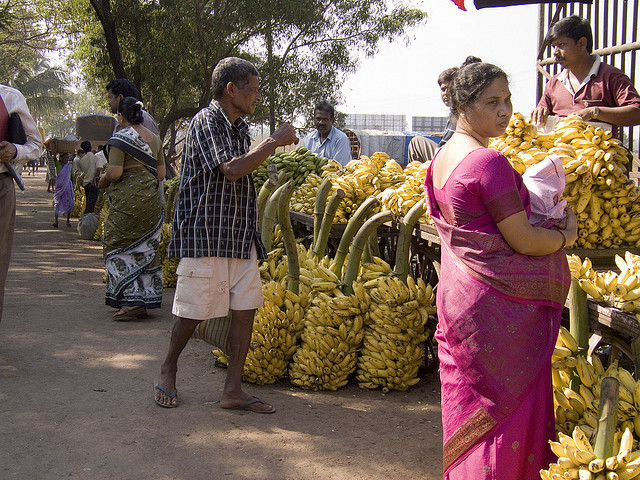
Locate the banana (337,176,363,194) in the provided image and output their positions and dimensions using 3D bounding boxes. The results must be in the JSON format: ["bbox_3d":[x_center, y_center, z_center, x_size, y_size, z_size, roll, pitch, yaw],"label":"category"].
[{"bbox_3d":[0.293,-0.546,5.352,0.231,0.185,0.122,13,-35,30],"label":"banana"}]

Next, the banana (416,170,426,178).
[{"bbox_3d":[0.819,-0.547,4.532,0.055,0.062,0.136,1,8,-5],"label":"banana"}]

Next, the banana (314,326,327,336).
[{"bbox_3d":[0.007,0.727,4.445,0.117,0.040,0.042,29,6,14],"label":"banana"}]

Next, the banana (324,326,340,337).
[{"bbox_3d":[0.110,0.746,4.417,0.085,0.071,0.028,23,-4,-20],"label":"banana"}]

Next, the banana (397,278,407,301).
[{"bbox_3d":[0.655,0.388,4.348,0.044,0.182,0.060,-4,-20,-44],"label":"banana"}]

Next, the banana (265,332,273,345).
[{"bbox_3d":[-0.410,0.788,4.401,0.043,0.063,0.036,-9,5,9],"label":"banana"}]

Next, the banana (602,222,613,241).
[{"bbox_3d":[1.769,-0.052,3.378,0.044,0.098,0.031,22,2,10],"label":"banana"}]

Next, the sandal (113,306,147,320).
[{"bbox_3d":[-2.091,0.822,6.064,0.353,0.167,0.124,0,-18,-23],"label":"sandal"}]

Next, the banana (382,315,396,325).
[{"bbox_3d":[0.547,0.640,4.388,0.099,0.050,0.033,43,15,8],"label":"banana"}]

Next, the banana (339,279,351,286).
[{"bbox_3d":[0.215,0.357,4.575,0.017,0.028,0.096,-4,26,-37],"label":"banana"}]

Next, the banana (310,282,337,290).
[{"bbox_3d":[0.038,0.384,4.579,0.241,0.075,0.078,3,-28,-10],"label":"banana"}]

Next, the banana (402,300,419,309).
[{"bbox_3d":[0.730,0.515,4.349,0.111,0.064,0.038,10,9,-26],"label":"banana"}]

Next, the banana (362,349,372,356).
[{"bbox_3d":[0.386,0.915,4.487,0.072,0.022,0.023,35,7,38],"label":"banana"}]

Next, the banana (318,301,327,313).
[{"bbox_3d":[0.022,0.549,4.483,0.039,0.074,0.019,-26,-6,41],"label":"banana"}]

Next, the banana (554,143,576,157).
[{"bbox_3d":[1.524,-0.564,3.428,0.173,0.069,0.050,8,-11,-16],"label":"banana"}]

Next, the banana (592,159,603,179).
[{"bbox_3d":[1.672,-0.434,3.316,0.038,0.146,0.048,-1,-40,42],"label":"banana"}]

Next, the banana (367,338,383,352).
[{"bbox_3d":[0.442,0.834,4.470,0.051,0.046,0.158,-4,32,-43],"label":"banana"}]

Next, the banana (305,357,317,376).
[{"bbox_3d":[-0.061,1.007,4.398,0.050,0.160,0.044,-19,-20,-24],"label":"banana"}]

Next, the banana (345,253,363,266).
[{"bbox_3d":[0.292,0.171,4.705,0.148,0.116,0.312,3,8,3],"label":"banana"}]

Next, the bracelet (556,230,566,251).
[{"bbox_3d":[1.137,-0.002,2.587,0.024,0.095,0.097,-5,38,28],"label":"bracelet"}]

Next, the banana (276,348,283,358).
[{"bbox_3d":[-0.325,0.913,4.449,0.042,0.064,0.024,-3,10,-14],"label":"banana"}]

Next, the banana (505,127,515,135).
[{"bbox_3d":[1.266,-0.729,3.674,0.042,0.044,0.084,0,8,-15],"label":"banana"}]

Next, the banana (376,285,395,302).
[{"bbox_3d":[0.519,0.432,4.400,0.192,0.051,0.064,48,15,21],"label":"banana"}]

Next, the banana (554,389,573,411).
[{"bbox_3d":[1.233,0.814,2.785,0.033,0.122,0.042,-42,-21,23],"label":"banana"}]

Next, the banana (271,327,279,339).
[{"bbox_3d":[-0.359,0.742,4.414,0.027,0.104,0.034,-11,12,-28],"label":"banana"}]

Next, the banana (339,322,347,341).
[{"bbox_3d":[0.200,0.741,4.436,0.056,0.131,0.041,-2,1,-2],"label":"banana"}]

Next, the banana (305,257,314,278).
[{"bbox_3d":[-0.087,0.217,4.867,0.039,0.128,0.033,-32,-15,21],"label":"banana"}]

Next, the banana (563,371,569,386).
[{"bbox_3d":[1.294,0.726,2.880,0.020,0.085,0.013,-13,-15,20],"label":"banana"}]

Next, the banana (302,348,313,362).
[{"bbox_3d":[-0.103,0.921,4.439,0.038,0.138,0.042,-45,-18,18],"label":"banana"}]

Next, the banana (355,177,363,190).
[{"bbox_3d":[0.380,-0.546,5.276,0.049,0.108,0.035,-22,-3,14],"label":"banana"}]

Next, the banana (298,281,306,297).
[{"bbox_3d":[-0.146,0.410,4.625,0.028,0.117,0.040,-7,-22,12],"label":"banana"}]

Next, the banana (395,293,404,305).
[{"bbox_3d":[0.636,0.467,4.354,0.071,0.098,0.036,1,8,-6],"label":"banana"}]

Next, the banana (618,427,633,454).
[{"bbox_3d":[1.370,0.897,2.468,0.037,0.052,0.151,-1,38,20],"label":"banana"}]

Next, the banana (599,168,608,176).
[{"bbox_3d":[1.719,-0.411,3.320,0.033,0.039,0.047,0,3,3],"label":"banana"}]

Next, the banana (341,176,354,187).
[{"bbox_3d":[0.280,-0.569,5.372,0.098,0.028,0.060,39,31,22],"label":"banana"}]

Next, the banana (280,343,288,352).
[{"bbox_3d":[-0.287,0.873,4.467,0.038,0.073,0.066,-1,17,-2],"label":"banana"}]

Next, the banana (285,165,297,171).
[{"bbox_3d":[-0.344,-0.873,6.647,0.150,0.066,0.058,4,8,10],"label":"banana"}]

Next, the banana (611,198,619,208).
[{"bbox_3d":[1.810,-0.229,3.384,0.023,0.046,0.045,-22,-27,10],"label":"banana"}]

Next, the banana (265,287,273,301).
[{"bbox_3d":[-0.414,0.441,4.490,0.029,0.111,0.040,-29,-30,-9],"label":"banana"}]

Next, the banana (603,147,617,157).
[{"bbox_3d":[1.784,-0.537,3.373,0.072,0.039,0.025,24,-14,-13],"label":"banana"}]

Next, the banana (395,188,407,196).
[{"bbox_3d":[0.657,-0.389,4.474,0.018,0.058,0.049,-32,3,-26],"label":"banana"}]

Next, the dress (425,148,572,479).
[{"bbox_3d":[0.851,0.570,2.624,0.593,1.253,0.326,4,8,17],"label":"dress"}]

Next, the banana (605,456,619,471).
[{"bbox_3d":[1.276,0.977,2.396,0.026,0.031,0.086,16,52,38],"label":"banana"}]

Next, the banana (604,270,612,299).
[{"bbox_3d":[1.501,0.238,2.855,0.037,0.126,0.031,8,-15,-35],"label":"banana"}]

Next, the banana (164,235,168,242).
[{"bbox_3d":[-2.233,-0.028,7.977,0.046,0.071,0.024,-4,-3,-39],"label":"banana"}]

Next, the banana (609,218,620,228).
[{"bbox_3d":[1.807,-0.106,3.357,0.059,0.055,0.025,2,8,-1],"label":"banana"}]
